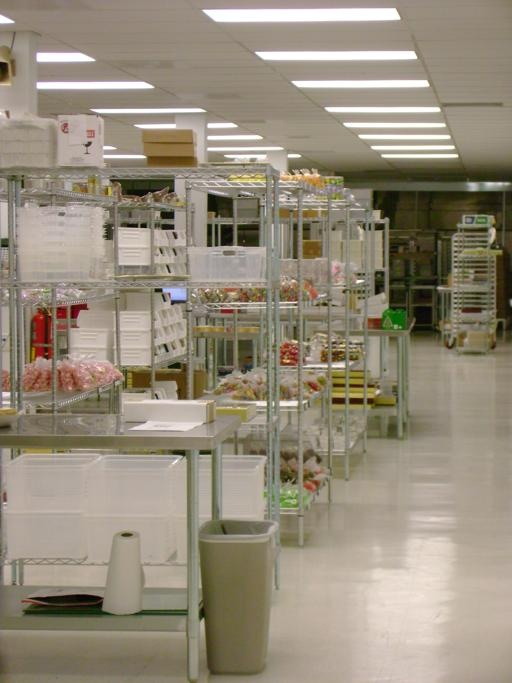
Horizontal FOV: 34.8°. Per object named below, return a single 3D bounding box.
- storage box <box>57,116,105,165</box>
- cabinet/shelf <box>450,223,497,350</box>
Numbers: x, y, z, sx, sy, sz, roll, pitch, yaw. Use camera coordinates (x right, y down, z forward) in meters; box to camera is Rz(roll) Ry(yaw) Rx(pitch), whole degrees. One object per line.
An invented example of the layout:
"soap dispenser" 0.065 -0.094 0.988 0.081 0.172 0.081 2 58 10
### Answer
"storage box" -0.609 -0.719 2.966 0.214 0.169 0.191 1 5 6
"cabinet/shelf" 3.989 -1.169 15.082 0.835 2.552 2.637 0 3 15
